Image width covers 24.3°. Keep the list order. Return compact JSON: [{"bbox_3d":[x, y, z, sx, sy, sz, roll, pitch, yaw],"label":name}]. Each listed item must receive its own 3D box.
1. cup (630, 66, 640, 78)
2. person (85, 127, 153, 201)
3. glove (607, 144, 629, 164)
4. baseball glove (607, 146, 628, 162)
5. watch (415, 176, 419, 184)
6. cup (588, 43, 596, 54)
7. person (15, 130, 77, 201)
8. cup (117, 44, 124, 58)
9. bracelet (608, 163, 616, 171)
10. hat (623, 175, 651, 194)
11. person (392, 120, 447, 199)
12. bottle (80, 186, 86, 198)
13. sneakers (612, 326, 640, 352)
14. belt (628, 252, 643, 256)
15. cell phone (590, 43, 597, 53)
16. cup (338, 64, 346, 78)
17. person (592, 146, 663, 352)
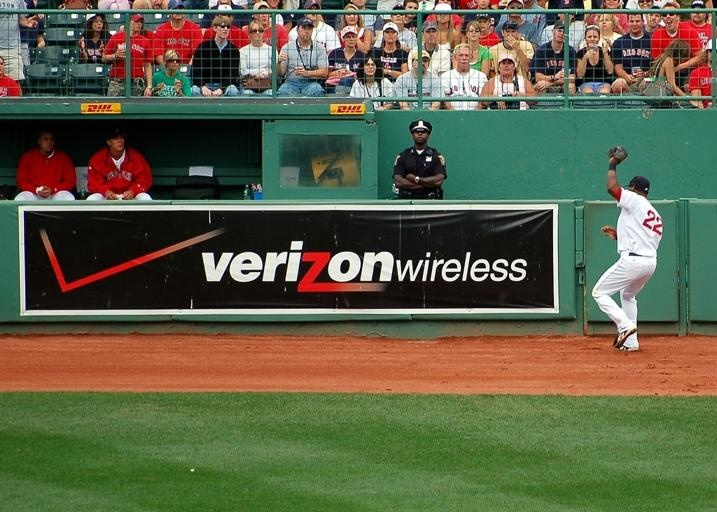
[{"bbox_3d":[4.522,-2.974,27.315,0.135,0.125,0.133,0,6,0],"label":"cup"},{"bbox_3d":[-3.831,-1.325,26.933,1.137,1.309,1.716,-1,11,-12],"label":"person"},{"bbox_3d":[3.807,-1.435,24.501,0.319,0.180,0.425,3,19,11],"label":"glove"},{"bbox_3d":[3.778,-1.456,24.415,0.239,0.212,0.320,-1,10,5],"label":"baseball glove"},{"bbox_3d":[0.936,-1.171,26.529,0.061,0.088,0.091,1,-1,3],"label":"watch"},{"bbox_3d":[3.805,-3.339,27.321,0.173,0.159,0.089,1,31,3],"label":"cup"},{"bbox_3d":[-5.104,-1.450,27.589,1.051,1.332,1.216,-1,6,-16],"label":"person"},{"bbox_3d":[-3.885,-3.296,27.242,0.137,0.214,0.077,-3,9,-8],"label":"cup"},{"bbox_3d":[3.716,-1.270,24.442,0.108,0.111,0.107,1,5,12],"label":"bracelet"},{"bbox_3d":[4.130,-1.012,24.642,0.231,0.173,0.306,1,20,-33],"label":"hat"},{"bbox_3d":[0.977,-1.488,26.632,0.810,1.193,0.557,0,10,12],"label":"person"},{"bbox_3d":[-4.571,-1.008,27.684,0.131,0.188,0.192,-4,10,-13],"label":"bottle"},{"bbox_3d":[3.912,1.262,24.446,0.209,0.215,0.498,15,-40,-17],"label":"sneakers"},{"bbox_3d":[4.045,-0.008,24.314,0.160,0.055,0.006,5,-2,10],"label":"belt"},{"bbox_3d":[3.825,-3.344,27.332,0.168,0.147,0.084,1,27,2],"label":"cell phone"},{"bbox_3d":[-0.261,-2.955,27.201,0.147,0.249,0.141,0,7,0],"label":"cup"},{"bbox_3d":[3.974,-0.103,24.577,0.946,2.946,0.997,1,10,15],"label":"person"}]
